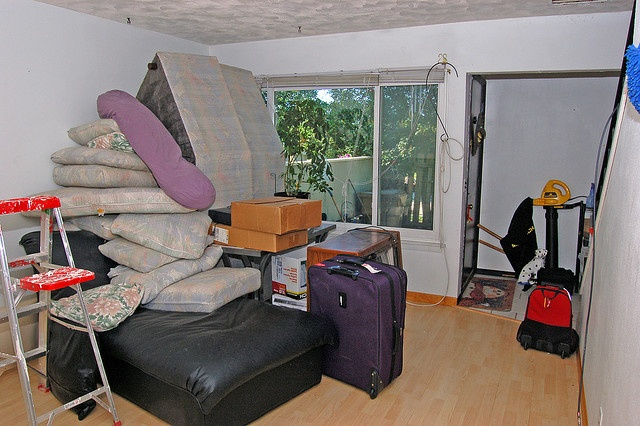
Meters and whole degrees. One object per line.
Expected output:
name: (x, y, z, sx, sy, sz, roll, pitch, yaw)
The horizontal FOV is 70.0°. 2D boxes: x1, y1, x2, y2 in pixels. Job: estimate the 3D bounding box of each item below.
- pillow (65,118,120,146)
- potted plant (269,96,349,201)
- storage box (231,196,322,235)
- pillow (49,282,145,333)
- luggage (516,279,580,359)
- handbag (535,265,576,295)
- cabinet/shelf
pillow: (-2.152, -0.770, 4.315, 0.352, 0.134, 0.344, -24, 18, -27)
potted plant: (-0.181, -0.825, 5.734, 0.744, 1.198, 0.308, 0, 16, 9)
storage box: (-0.387, 0.051, 4.218, 0.853, 0.303, 0.385, -5, 15, -10)
pillow: (-1.703, 0.727, 3.552, 0.425, 0.124, 0.426, 8, 14, 29)
luggage: (2.164, 1.006, 4.295, 0.511, 0.561, 0.397, 6, 17, 28)
handbag: (2.573, 0.739, 4.979, 0.299, 0.258, 0.220, 6, 13, 41)
cabinet/shelf: (0.300, 0.497, 3.869, 0.268, 0.629, 0.700, 5, 10, 35)
